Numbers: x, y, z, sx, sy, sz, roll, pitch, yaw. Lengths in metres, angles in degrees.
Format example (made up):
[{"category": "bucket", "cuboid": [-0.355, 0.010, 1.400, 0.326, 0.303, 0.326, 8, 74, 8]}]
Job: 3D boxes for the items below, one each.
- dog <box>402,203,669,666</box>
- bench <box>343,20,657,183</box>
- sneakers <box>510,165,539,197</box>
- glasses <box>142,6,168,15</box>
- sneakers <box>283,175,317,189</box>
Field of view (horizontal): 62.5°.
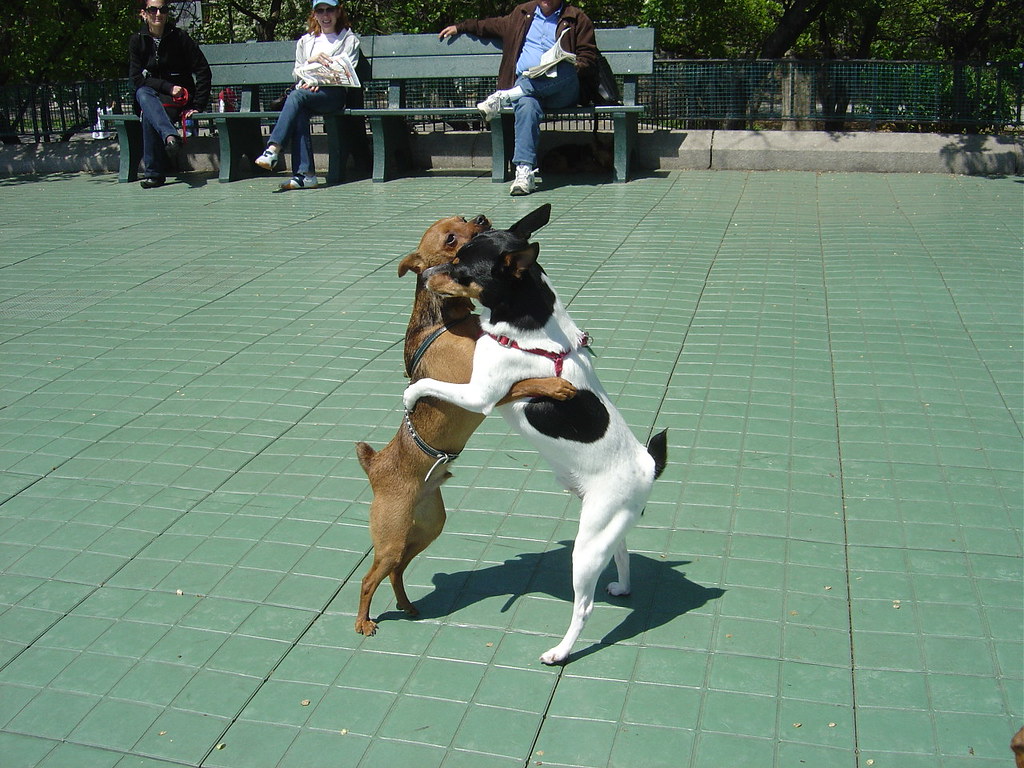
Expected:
[{"category": "dog", "cuboid": [0.111, 0.227, 3.137, 0.837, 1.742, 0.426, 3, 17, 18]}, {"category": "bench", "cuboid": [-0.083, -3.687, 11.153, 3.542, 1.296, 0.997, 3, 31, 14]}, {"category": "sneakers", "cuboid": [0.167, -2.415, 10.005, 0.230, 0.206, 0.496, -1, 26, 9]}, {"category": "glasses", "cuboid": [-4.857, -5.061, 11.496, 0.309, 0.113, 0.172, -2, 14, -5]}, {"category": "sneakers", "cuboid": [-2.755, -2.647, 11.142, 0.511, 0.170, 0.191, -5, 14, -24]}]
